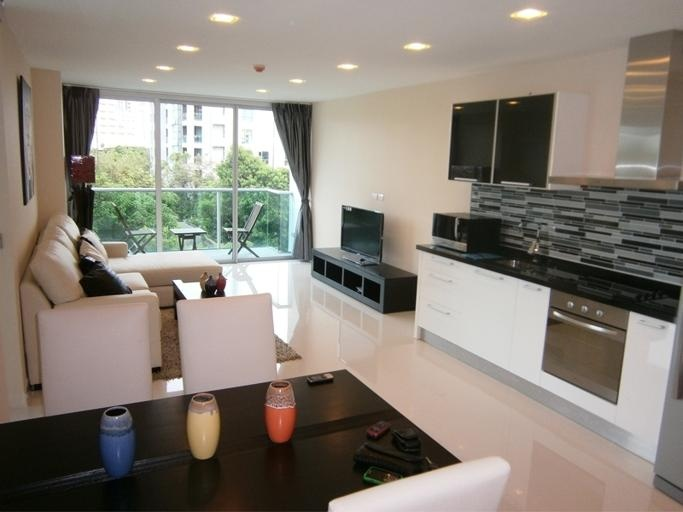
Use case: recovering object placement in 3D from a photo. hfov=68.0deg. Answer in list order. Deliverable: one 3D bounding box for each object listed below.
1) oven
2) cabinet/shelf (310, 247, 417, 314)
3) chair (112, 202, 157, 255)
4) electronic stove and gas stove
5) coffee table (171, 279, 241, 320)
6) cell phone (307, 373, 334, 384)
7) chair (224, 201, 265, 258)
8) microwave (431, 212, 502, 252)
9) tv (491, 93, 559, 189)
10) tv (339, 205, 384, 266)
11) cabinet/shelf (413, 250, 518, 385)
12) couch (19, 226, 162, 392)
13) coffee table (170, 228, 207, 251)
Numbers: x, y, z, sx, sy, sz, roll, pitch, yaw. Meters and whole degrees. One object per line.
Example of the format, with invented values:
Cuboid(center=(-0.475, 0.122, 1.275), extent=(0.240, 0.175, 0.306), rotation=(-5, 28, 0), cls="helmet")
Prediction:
Cuboid(center=(1.982, 0.699, 3.913), extent=(0.505, 0.648, 0.645), rotation=(-7, 14, -32), cls="oven")
Cuboid(center=(0.285, 0.309, 6.904), extent=(0.472, 0.531, 1.826), rotation=(-7, 17, -33), cls="cabinet/shelf")
Cuboid(center=(-3.108, -0.417, 7.764), extent=(0.698, 1.003, 0.497), rotation=(-3, 14, -20), cls="chair")
Cuboid(center=(2.124, 0.253, 3.833), extent=(0.644, 0.124, 0.968), rotation=(-8, 18, -35), cls="electronic stove and gas stove")
Cuboid(center=(-1.509, 0.356, 5.513), extent=(0.535, 0.457, 0.827), rotation=(-8, 22, -26), cls="coffee table")
Cuboid(center=(-0.105, 0.630, 2.614), extent=(0.101, 0.026, 0.055), rotation=(-8, 14, -26), cls="cell phone")
Cuboid(center=(-1.696, -0.436, 8.916), extent=(0.673, 0.924, 0.618), rotation=(1, 0, -24), cls="chair")
Cuboid(center=(1.276, -0.386, 5.063), extent=(0.385, 0.382, 0.570), rotation=(-4, 13, -24), cls="microwave")
Cuboid(center=(1.591, -0.994, 4.313), extent=(0.130, 1.029, 0.718), rotation=(-4, 11, -30), cls="tv")
Cuboid(center=(0.308, -0.293, 6.943), extent=(0.197, 0.568, 0.745), rotation=(-5, 12, -32), cls="tv")
Cuboid(center=(1.205, 0.572, 4.738), extent=(0.368, 0.755, 0.977), rotation=(-3, 17, -28), cls="cabinet/shelf")
Cuboid(center=(-1.859, 0.361, 3.684), extent=(0.522, 0.549, 1.312), rotation=(-4, 18, -18), cls="couch")
Cuboid(center=(-2.470, -0.346, 8.253), extent=(0.365, 0.376, 0.376), rotation=(-4, 15, -20), cls="coffee table")
